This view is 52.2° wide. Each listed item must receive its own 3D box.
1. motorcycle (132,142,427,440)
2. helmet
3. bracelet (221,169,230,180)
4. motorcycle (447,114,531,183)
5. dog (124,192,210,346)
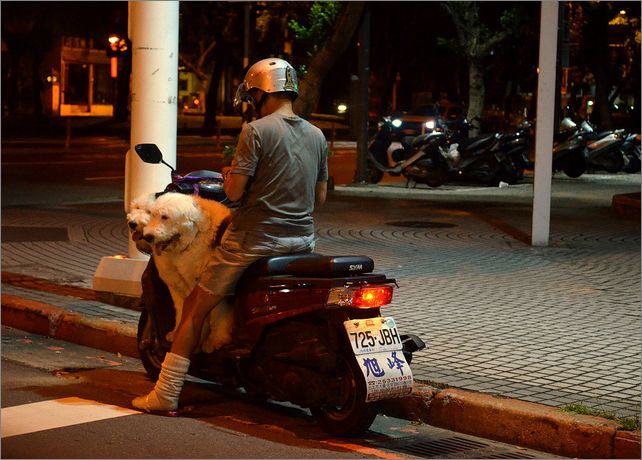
[{"bbox_3d":[-0.364,0.494,5.624,2.920,1.962,1.431,9,9,40],"label":"motorcycle"},{"bbox_3d":[-0.377,-1.080,4.909,0.464,0.379,0.360,15,17,38],"label":"helmet"},{"bbox_3d":[-0.693,-0.405,4.772,0.064,0.085,0.040,7,6,-8],"label":"bracelet"},{"bbox_3d":[5.240,-2.247,20.339,3.032,1.917,1.499,0,5,-5],"label":"motorcycle"},{"bbox_3d":[-1.354,0.096,4.979,0.650,0.744,1.157,-5,14,-26],"label":"dog"}]
